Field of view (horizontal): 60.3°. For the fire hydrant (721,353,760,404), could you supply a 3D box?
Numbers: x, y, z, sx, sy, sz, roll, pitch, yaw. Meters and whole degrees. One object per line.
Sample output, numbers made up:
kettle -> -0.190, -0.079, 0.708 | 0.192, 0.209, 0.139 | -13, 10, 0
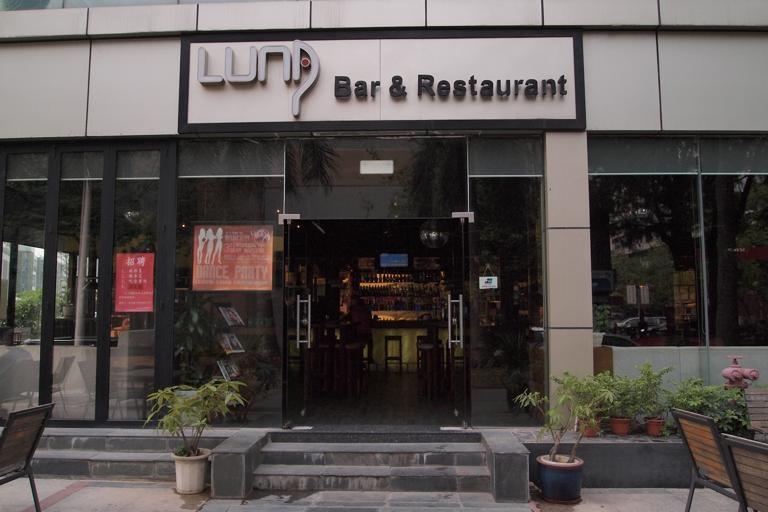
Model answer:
fire hydrant -> 5.304, 1.843, 9.738 | 0.555, 0.652, 0.503 | 4, -4, -1

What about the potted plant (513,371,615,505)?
potted plant -> 2.643, 2.539, 9.386 | 1.268, 1.732, 1.255 | -2, -4, 21

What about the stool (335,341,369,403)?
stool -> -0.660, 2.151, 12.591 | 0.753, 1.335, 0.800 | 1, -6, -10

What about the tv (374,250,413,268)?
tv -> 0.247, 0.101, 16.225 | 0.785, 0.406, 0.088 | -1, -4, 9

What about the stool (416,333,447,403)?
stool -> 0.916, 2.039, 12.295 | 0.543, 1.141, 1.107 | 0, -4, 4

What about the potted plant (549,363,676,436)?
potted plant -> 3.293, 2.355, 9.528 | 1.341, 1.067, 1.230 | 2, -6, 0

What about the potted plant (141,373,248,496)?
potted plant -> -2.668, 2.607, 9.426 | 1.369, 1.537, 1.034 | -1, -9, -22

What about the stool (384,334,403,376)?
stool -> 0.207, 2.255, 15.374 | 0.488, 0.820, 0.351 | 2, -4, -22
